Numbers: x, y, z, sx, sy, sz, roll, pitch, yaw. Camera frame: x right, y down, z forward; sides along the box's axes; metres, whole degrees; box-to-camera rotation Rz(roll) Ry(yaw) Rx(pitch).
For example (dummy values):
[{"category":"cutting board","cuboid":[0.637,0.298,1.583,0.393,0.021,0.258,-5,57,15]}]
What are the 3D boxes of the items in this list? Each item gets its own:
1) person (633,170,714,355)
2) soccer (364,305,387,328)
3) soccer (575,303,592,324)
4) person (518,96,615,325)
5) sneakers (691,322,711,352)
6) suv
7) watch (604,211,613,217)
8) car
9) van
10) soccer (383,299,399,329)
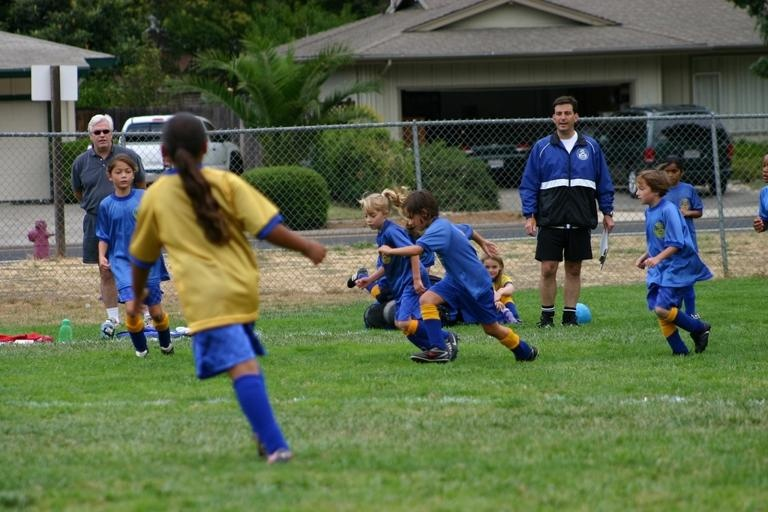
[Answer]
[{"category":"person","cuboid":[3.709,0.047,15.134,0.882,2.346,0.707,-2,3,15]},{"category":"soccer","cuboid":[-0.149,0.844,16.742,0.326,0.354,0.253,-3,-2,36]},{"category":"soccer","cuboid":[2.822,0.780,16.652,0.289,0.262,0.256,4,15,-16]},{"category":"person","cuboid":[2.542,-0.628,16.461,1.244,3.128,0.388,-2,3,6]},{"category":"sneakers","cuboid":[4.062,1.013,15.078,0.231,0.488,0.167,-6,14,-12]},{"category":"suv","cuboid":[-4.722,-2.594,27.867,2.221,1.776,4.146,1,5,33]},{"category":"watch","cuboid":[3.117,-0.597,16.390,0.099,0.038,0.078,-2,7,-1]},{"category":"car","cuboid":[3.164,-2.653,31.757,3.125,1.070,1.669,-9,12,-43]},{"category":"van","cuboid":[6.360,-2.107,27.161,2.485,2.193,4.135,-5,14,-16]},{"category":"soccer","cuboid":[0.164,0.788,16.578,0.247,0.339,0.324,-3,-2,-19]}]
